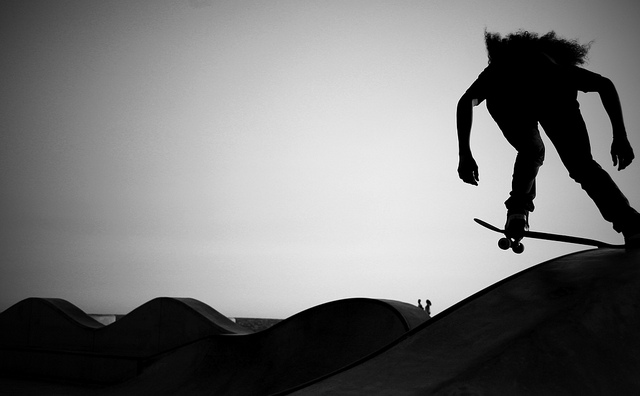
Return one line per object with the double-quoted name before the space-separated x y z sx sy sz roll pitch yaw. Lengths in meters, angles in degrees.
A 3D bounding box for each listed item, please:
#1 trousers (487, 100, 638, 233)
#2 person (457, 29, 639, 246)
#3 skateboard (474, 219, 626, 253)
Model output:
"trousers" 1.671 -0.251 4.402 0.270 1.136 1.052 15 -18 -37
"person" 1.690 -0.467 4.621 0.604 1.741 1.454 11 -16 -28
"skateboard" 1.849 0.306 4.994 1.092 0.183 0.225 7 -6 34
